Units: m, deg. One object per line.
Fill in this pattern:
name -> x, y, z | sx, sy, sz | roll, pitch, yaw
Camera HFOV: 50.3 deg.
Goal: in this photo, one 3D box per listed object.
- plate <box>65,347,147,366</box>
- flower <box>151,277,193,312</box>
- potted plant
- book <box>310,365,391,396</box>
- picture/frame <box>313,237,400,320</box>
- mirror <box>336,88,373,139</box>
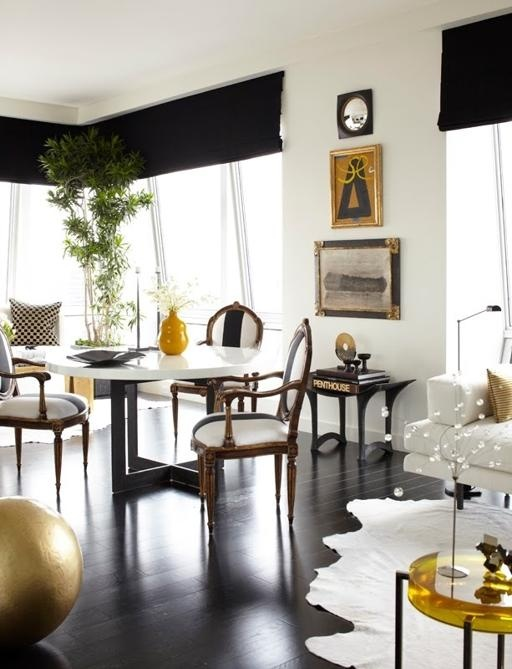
plate -> -0.880, 0.130, 3.255 | 0.456, 0.083, 0.510 | -1, 1, -21
flower -> -0.509, -0.237, 3.567 | 0.259, 0.215, 0.259 | 4, 0, 22
potted plant -> -1.883, -1.207, 6.474 | 1.233, 2.650, 0.890 | -1, 1, -11
book -> 0.696, 0.356, 4.174 | 0.622, 0.176, 0.381 | 0, 1, 10
picture/frame -> 0.837, -0.469, 4.426 | 0.050, 0.563, 0.716 | -3, 5, -41
mirror -> 0.796, -1.773, 4.353 | 0.036, 0.446, 0.455 | -4, 7, -42
